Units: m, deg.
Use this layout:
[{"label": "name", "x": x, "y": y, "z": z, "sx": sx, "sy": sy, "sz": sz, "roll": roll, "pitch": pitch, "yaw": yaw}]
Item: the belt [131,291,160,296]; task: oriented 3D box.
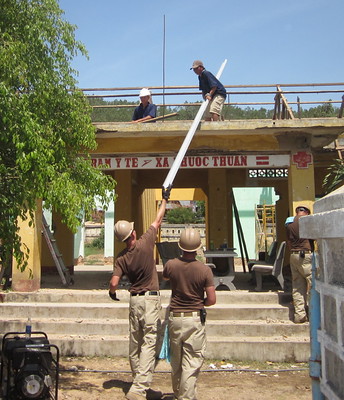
[{"label": "belt", "x": -0.296, "y": 1.025, "z": 6.509, "sx": 0.279, "sy": 0.056, "sz": 0.071, "roll": -5, "pitch": -4, "yaw": 8}]

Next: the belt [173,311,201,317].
[{"label": "belt", "x": 0.132, "y": 1.158, "z": 6.050, "sx": 0.276, "sy": 0.054, "sz": 0.057, "roll": -5, "pitch": -4, "yaw": 10}]

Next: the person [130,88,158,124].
[{"label": "person", "x": -0.521, "y": -1.790, "z": 11.391, "sx": 0.456, "sy": 0.809, "sz": 0.942, "roll": -2, "pitch": -3, "yaw": -4}]

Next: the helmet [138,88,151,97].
[{"label": "helmet", "x": -0.519, "y": -2.061, "z": 11.512, "sx": 0.211, "sy": 0.229, "sz": 0.395, "roll": -3, "pitch": -4, "yaw": -2}]

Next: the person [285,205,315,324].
[{"label": "person", "x": 1.839, "y": 0.937, "z": 8.720, "sx": 0.343, "sy": 1.686, "sz": 0.722, "roll": -3, "pitch": -3, "yaw": 12}]

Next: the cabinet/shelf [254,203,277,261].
[{"label": "cabinet/shelf", "x": 3.908, "y": 1.240, "z": 25.021, "sx": 1.208, "sy": 2.000, "sz": 0.878, "roll": 7, "pitch": -4, "yaw": -44}]

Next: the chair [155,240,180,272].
[{"label": "chair", "x": -0.085, "y": 1.032, "z": 11.639, "sx": 0.459, "sy": 0.818, "sz": 0.491, "roll": 1, "pitch": 3, "yaw": 36}]

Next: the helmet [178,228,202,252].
[{"label": "helmet", "x": 0.182, "y": 0.420, "z": 6.189, "sx": 0.161, "sy": 0.157, "sz": 0.250, "roll": 2, "pitch": 19, "yaw": 2}]

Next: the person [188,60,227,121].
[{"label": "person", "x": 0.621, "y": -1.935, "z": 10.804, "sx": 0.497, "sy": 1.099, "sz": 0.600, "roll": 0, "pitch": -4, "yaw": -39}]

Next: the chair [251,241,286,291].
[{"label": "chair", "x": 1.652, "y": 1.033, "z": 10.263, "sx": 0.493, "sy": 0.956, "sz": 0.644, "roll": 6, "pitch": 15, "yaw": 11}]

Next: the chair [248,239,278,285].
[{"label": "chair", "x": 1.753, "y": 1.270, "z": 11.635, "sx": 0.436, "sy": 0.968, "sz": 0.632, "roll": 2, "pitch": -1, "yaw": -2}]
